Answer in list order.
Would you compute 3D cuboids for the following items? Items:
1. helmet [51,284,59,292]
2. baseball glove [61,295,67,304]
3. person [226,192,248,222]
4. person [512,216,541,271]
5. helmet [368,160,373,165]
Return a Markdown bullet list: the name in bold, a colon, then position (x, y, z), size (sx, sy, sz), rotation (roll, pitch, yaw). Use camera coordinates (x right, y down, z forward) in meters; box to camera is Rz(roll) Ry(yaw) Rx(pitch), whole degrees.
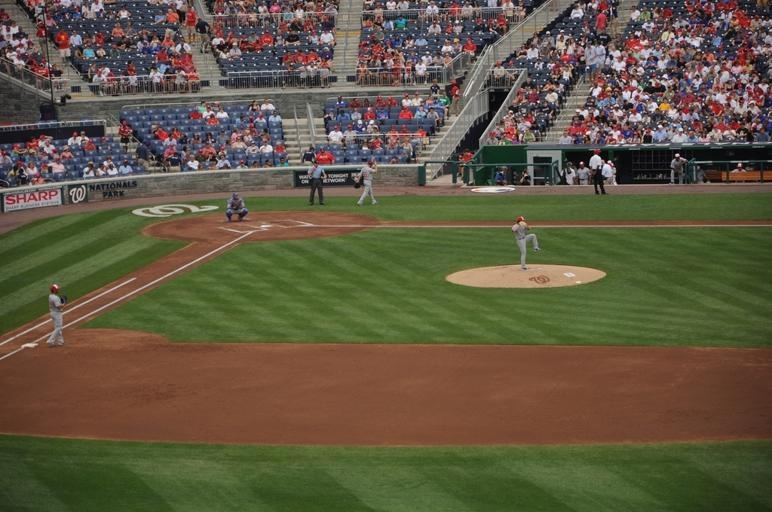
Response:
- **helmet**: position (-10.862, 1.036, 35.092), size (0.205, 0.180, 0.228), rotation (17, 34, 0)
- **baseball glove**: position (-10.541, 1.399, 34.979), size (0.271, 0.298, 0.320), rotation (-2, -1, -6)
- **person**: position (-6.618, -2.224, 47.193), size (0.868, 1.309, 1.268), rotation (-3, 14, -8)
- **person**: position (5.338, -0.425, 41.112), size (1.323, 2.244, 0.675), rotation (-12, 56, 7)
- **helmet**: position (-0.712, -4.247, 48.215), size (0.185, 0.189, 0.205), rotation (0, -23, 0)
